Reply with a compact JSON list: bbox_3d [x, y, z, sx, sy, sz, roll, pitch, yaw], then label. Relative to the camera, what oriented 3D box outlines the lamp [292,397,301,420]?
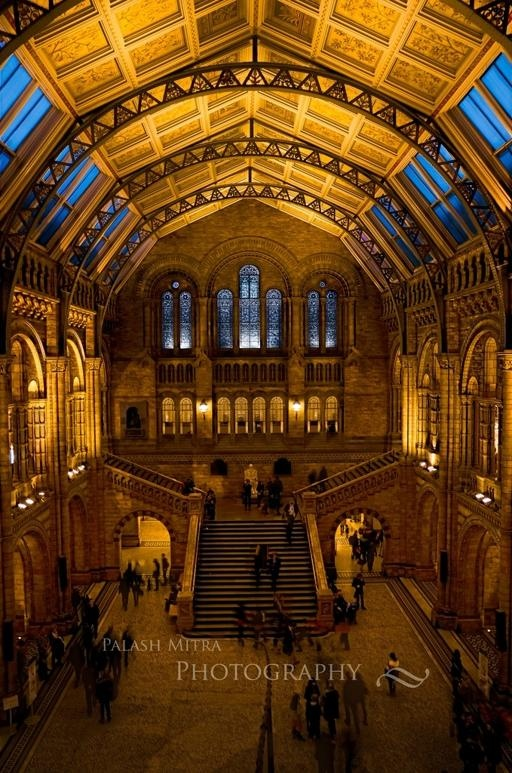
[{"bbox_3d":[2.141,1.218,29.387,0.474,1.150,0.259,0,-3,3],"label":"lamp"}]

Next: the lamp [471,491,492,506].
[{"bbox_3d":[6.381,3.175,15.855,0.322,0.283,0.807,-5,18,4],"label":"lamp"}]

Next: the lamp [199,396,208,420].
[{"bbox_3d":[-2.716,1.230,29.210,0.509,1.181,0.248,1,-3,-7],"label":"lamp"}]
